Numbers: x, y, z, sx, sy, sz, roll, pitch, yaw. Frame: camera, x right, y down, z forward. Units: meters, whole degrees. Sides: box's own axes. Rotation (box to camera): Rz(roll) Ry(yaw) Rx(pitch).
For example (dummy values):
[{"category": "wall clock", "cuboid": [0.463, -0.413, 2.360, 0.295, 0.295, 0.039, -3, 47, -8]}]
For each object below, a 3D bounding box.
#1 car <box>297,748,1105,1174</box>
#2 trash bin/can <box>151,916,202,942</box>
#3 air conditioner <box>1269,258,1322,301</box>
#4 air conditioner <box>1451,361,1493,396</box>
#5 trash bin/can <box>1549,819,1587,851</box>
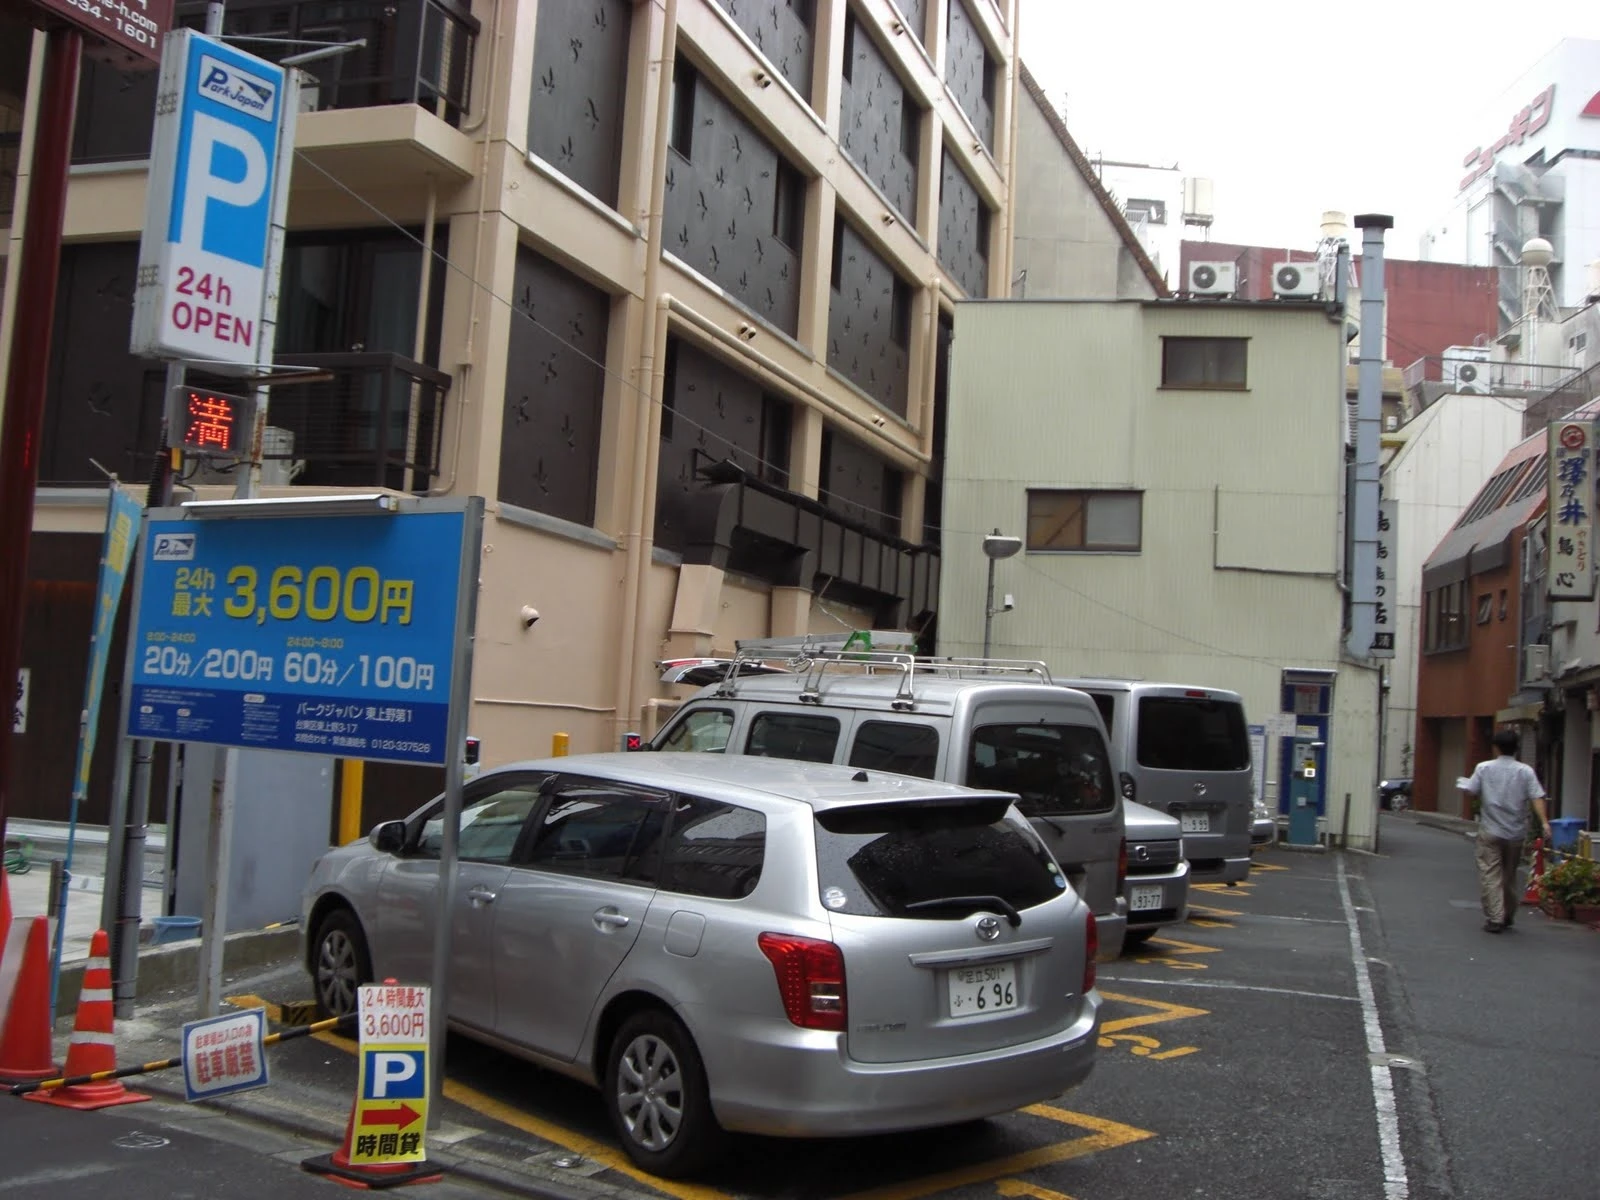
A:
[{"category": "car", "cuboid": [-0.792, 1.666, 8.260, 4.092, 1.546, 2.017, 4, -2, 44]}, {"category": "trash bin/can", "cuboid": [-4.847, 2.529, 11.000, 0.308, 0.122, 0.258, 0, -1, 12]}, {"category": "air conditioner", "cuboid": [10.227, -6.637, 29.218, 0.848, 0.718, 0.886, 0, -1, 12]}, {"category": "air conditioner", "cuboid": [28.596, -9.518, 60.167, 1.410, 1.566, 2.500, 3, -1, 26]}, {"category": "trash bin/can", "cuboid": [10.104, 3.121, 18.690, 0.473, 0.376, 0.495, 2, 4, 15]}]
